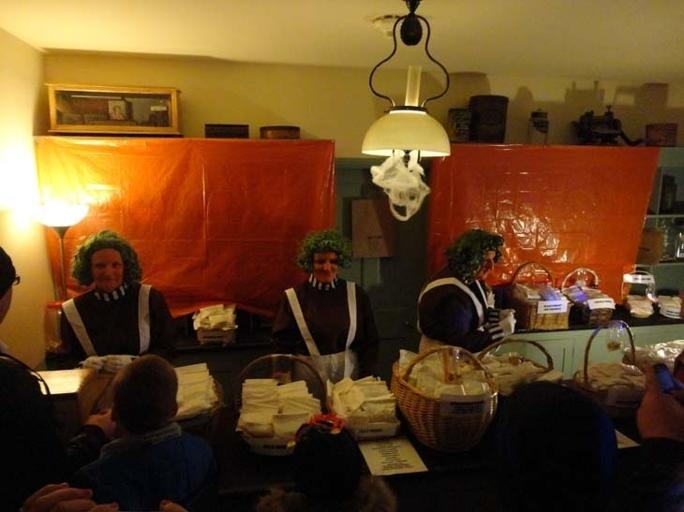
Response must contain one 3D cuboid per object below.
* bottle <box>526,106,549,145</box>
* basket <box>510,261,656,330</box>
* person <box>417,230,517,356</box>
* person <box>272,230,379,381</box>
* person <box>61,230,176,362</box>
[{"bbox_3d":[1.724,-1.134,4.802,0.154,0.280,0.195,1,8,12],"label":"bottle"},{"bbox_3d":[1.828,0.379,4.629,0.792,0.507,0.798,-2,1,-3],"label":"basket"},{"bbox_3d":[0.966,0.281,4.150,0.673,1.306,0.664,-5,17,1],"label":"person"},{"bbox_3d":[-0.130,0.348,3.863,0.727,1.011,0.490,-2,8,-8],"label":"person"},{"bbox_3d":[-1.538,0.347,3.675,0.756,0.971,0.522,-4,-3,-20],"label":"person"}]
